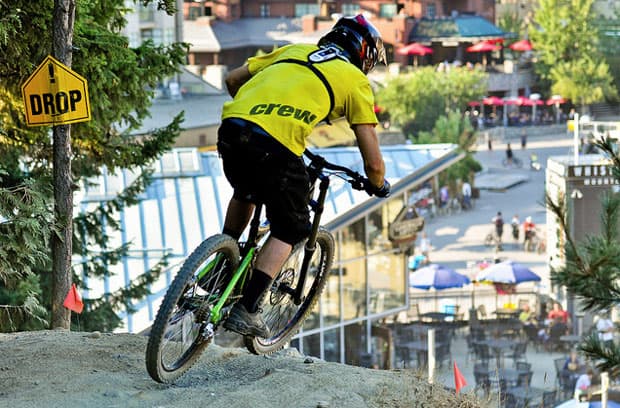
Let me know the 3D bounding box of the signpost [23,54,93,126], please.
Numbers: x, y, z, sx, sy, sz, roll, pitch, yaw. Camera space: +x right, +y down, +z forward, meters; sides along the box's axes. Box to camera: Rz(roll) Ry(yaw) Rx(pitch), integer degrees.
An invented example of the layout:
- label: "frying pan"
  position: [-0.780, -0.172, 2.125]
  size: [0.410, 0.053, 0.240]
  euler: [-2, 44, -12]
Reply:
- label: "signpost"
  position: [-5.226, -2.399, 25.866]
  size: [1.340, 1.472, 0.071]
  euler: [-8, 8, -8]

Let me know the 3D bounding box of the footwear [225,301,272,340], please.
- label: "footwear"
  position: [-1.175, 2.301, 24.854]
  size: [0.470, 0.592, 1.285]
  euler: [17, -3, 36]
